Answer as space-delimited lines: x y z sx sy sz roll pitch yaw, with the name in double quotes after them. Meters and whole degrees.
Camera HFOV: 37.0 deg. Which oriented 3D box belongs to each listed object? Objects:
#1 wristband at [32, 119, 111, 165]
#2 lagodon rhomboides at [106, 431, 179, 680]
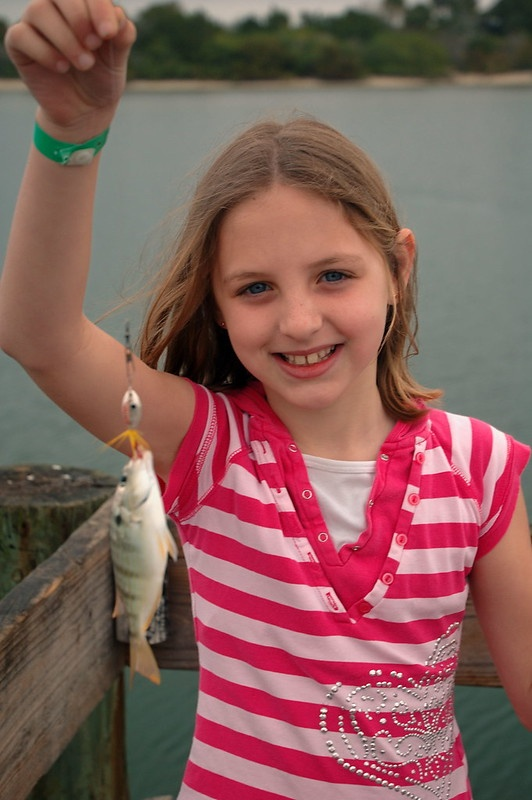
-0.343 -0.432 1.385 0.102 0.085 0.114 -6 10 -26 "wristband"
-0.185 0.236 1.174 0.100 0.338 0.208 -13 21 -11 "lagodon rhomboides"
